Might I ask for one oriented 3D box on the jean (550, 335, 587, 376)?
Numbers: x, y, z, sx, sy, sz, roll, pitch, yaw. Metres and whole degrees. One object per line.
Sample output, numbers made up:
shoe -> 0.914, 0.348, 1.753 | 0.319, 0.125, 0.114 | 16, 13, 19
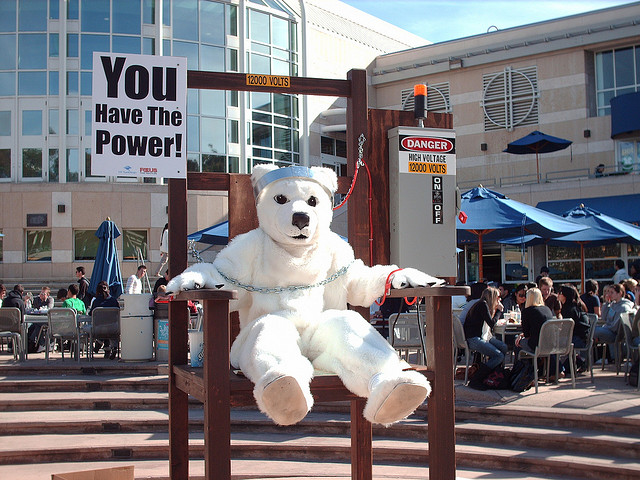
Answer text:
jean -> 4.626, 2.188, 18.357 | 0.589, 1.035, 0.730 | -1, 4, 4

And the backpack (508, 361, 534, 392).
backpack -> 3.533, 2.439, 17.569 | 0.783, 0.562, 0.275 | 7, 7, -43

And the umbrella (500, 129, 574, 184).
umbrella -> 6.312, -2.492, 28.411 | 1.545, 1.406, 1.630 | 12, -19, -35

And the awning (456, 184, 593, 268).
awning -> 4.265, -0.488, 20.796 | 2.610, 1.397, 3.269 | -1, -2, 8

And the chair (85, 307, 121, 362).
chair -> -4.304, 1.916, 19.816 | 0.862, 1.088, 0.661 | -1, -2, 3

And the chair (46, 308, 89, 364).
chair -> -4.984, 1.926, 19.639 | 0.811, 1.081, 0.962 | 0, -2, -14

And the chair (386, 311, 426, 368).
chair -> 1.670, 1.983, 18.433 | 0.866, 1.268, 0.938 | -5, -5, 28

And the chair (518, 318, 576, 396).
chair -> 4.157, 2.086, 17.927 | 0.830, 1.384, 0.883 | -1, 5, -16

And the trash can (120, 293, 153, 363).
trash can -> -3.577, 1.765, 19.448 | 0.642, 1.363, 0.417 | 0, -1, -13

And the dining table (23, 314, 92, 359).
dining table -> -5.348, 2.098, 20.003 | 1.614, 1.088, 0.891 | 0, 0, -16

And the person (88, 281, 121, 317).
person -> -4.495, 1.171, 20.697 | 0.571, 0.774, 0.383 | 1, -40, -14
